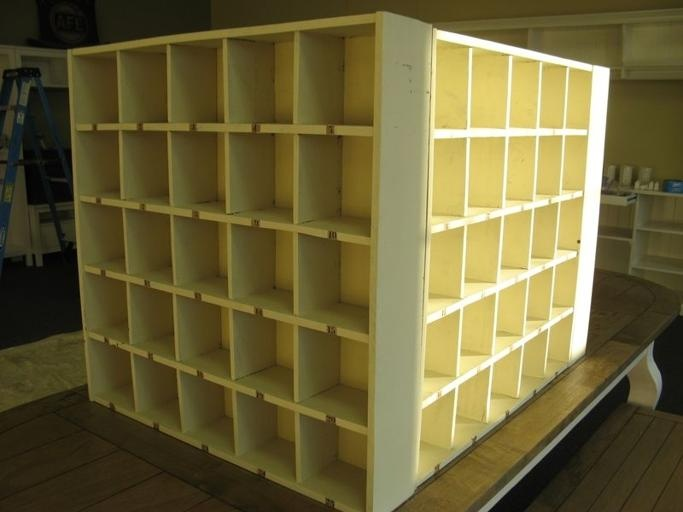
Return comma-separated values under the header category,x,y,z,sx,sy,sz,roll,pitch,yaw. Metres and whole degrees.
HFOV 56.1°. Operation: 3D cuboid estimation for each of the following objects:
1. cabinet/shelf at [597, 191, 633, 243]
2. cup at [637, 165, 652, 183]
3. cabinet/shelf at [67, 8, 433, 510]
category,x,y,z,sx,sy,sz,roll,pitch,yaw
cabinet/shelf,3.021,-0.431,7.051,0.337,0.461,0.456,-10,16,-38
cup,3.380,-0.896,7.135,0.148,0.154,0.201,9,21,25
cabinet/shelf,-0.433,0.062,3.226,0.626,2.178,2.080,-12,19,-38
